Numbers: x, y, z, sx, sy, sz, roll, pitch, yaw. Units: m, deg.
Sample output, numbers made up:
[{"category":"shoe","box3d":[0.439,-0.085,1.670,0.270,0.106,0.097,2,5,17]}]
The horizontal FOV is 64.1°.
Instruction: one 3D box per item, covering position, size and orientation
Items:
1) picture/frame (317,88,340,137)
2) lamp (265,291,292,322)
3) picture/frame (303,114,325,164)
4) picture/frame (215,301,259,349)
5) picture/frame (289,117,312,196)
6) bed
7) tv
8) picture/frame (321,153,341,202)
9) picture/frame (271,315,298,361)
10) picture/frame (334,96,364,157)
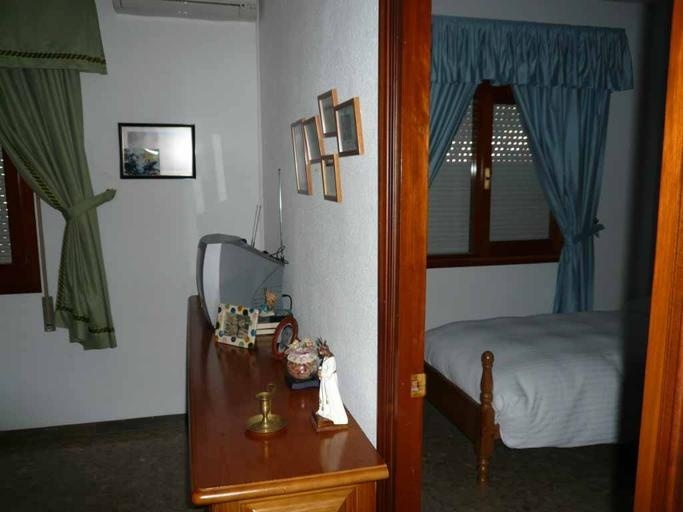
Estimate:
[{"category":"picture/frame","box3d":[-0.058,-0.653,2.497,0.021,0.225,0.231,-6,13,-17]},{"category":"lamp","box3d":[-0.394,0.310,3.340,0.161,0.232,0.143,-4,11,-18]},{"category":"picture/frame","box3d":[-0.144,-0.579,2.778,0.023,0.222,0.229,-12,11,-20]},{"category":"picture/frame","box3d":[-0.610,0.418,3.160,0.197,0.187,0.024,7,-14,28]},{"category":"picture/frame","box3d":[-0.226,-0.559,3.036,0.042,0.519,0.457,-6,-1,-13]},{"category":"bed","box3d":[1.312,0.946,3.667,1.267,0.630,0.851,-2,9,-7]},{"category":"tv","box3d":[-0.595,0.063,3.537,0.525,0.609,0.427,9,37,-2]},{"category":"picture/frame","box3d":[-0.061,-0.363,2.574,0.024,0.223,0.196,-9,11,-26]},{"category":"picture/frame","box3d":[-0.314,0.436,2.939,0.040,0.200,0.187,15,-11,18]},{"category":"picture/frame","box3d":[0.007,-0.536,2.323,0.021,0.230,0.214,-1,15,22]}]
